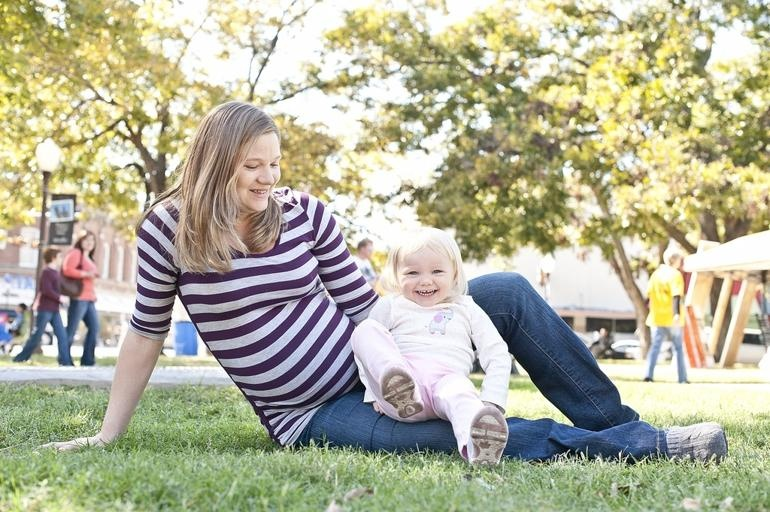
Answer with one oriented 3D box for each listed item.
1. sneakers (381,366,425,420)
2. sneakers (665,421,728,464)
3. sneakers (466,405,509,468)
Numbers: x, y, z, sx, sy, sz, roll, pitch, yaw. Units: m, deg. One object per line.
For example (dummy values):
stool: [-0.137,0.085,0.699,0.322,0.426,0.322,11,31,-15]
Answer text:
sneakers: [0.092,0.761,3.918,0.196,0.274,0.085,-29,-3,6]
sneakers: [1.690,1.008,3.855,0.262,0.213,0.105,-1,-28,2]
sneakers: [0.551,0.960,3.837,0.171,0.340,0.143,3,0,-1]
